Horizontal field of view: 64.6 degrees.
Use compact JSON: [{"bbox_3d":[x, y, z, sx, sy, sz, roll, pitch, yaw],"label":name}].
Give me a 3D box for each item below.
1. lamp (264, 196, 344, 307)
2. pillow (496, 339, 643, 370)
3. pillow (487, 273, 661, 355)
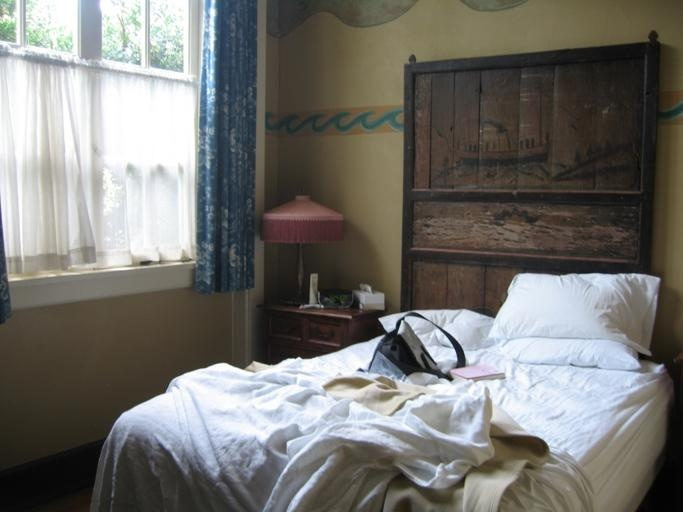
[{"bbox_3d":[-0.310,-0.038,4.074,0.514,0.821,0.539,-1,9,-13],"label":"lamp"},{"bbox_3d":[1.279,0.540,3.016,0.448,0.090,0.304,-3,0,22],"label":"pillow"},{"bbox_3d":[1.348,0.305,3.210,0.630,0.186,0.637,-3,39,43],"label":"pillow"}]
